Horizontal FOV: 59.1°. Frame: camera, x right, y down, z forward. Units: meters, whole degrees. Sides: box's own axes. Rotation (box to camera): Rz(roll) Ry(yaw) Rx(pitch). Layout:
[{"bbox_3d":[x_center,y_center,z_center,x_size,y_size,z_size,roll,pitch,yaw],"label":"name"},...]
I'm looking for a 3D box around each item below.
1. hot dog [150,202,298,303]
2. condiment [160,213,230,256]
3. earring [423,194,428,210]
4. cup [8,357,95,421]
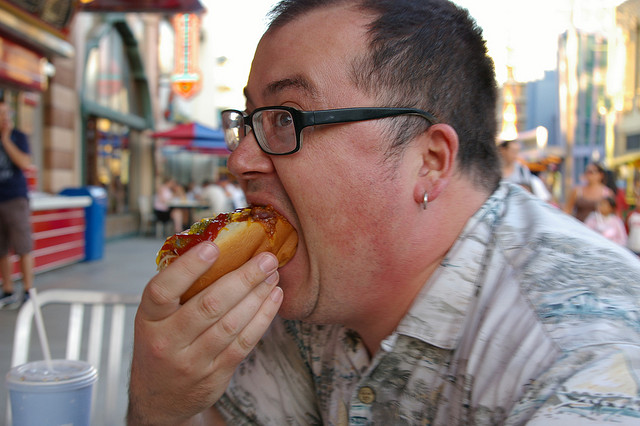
[{"bbox_3d":[-0.514,0.173,2.980,0.622,0.226,0.492,-31,6,-11],"label":"hot dog"},{"bbox_3d":[-0.653,0.071,2.979,0.264,0.078,0.218,-38,-1,6],"label":"condiment"},{"bbox_3d":[0.523,-0.054,2.797,0.023,0.069,0.021,6,3,-28],"label":"earring"},{"bbox_3d":[-1.312,0.847,2.877,0.353,0.389,0.356,2,-1,0],"label":"cup"}]
